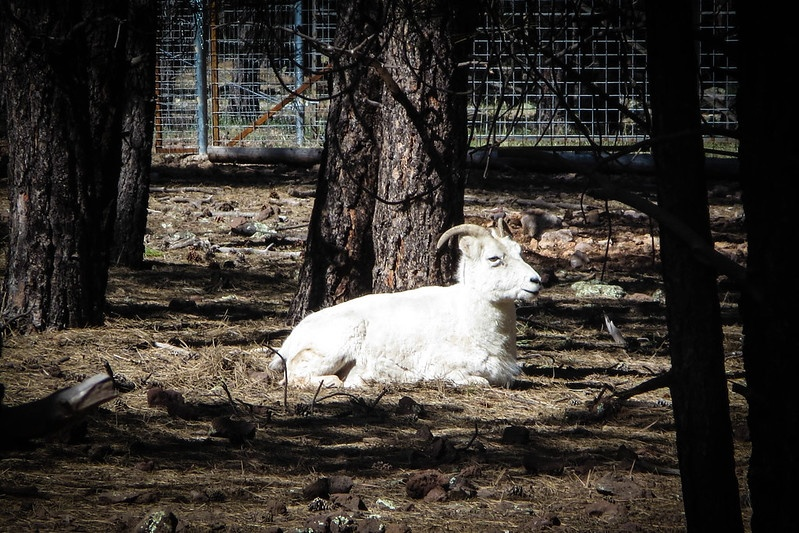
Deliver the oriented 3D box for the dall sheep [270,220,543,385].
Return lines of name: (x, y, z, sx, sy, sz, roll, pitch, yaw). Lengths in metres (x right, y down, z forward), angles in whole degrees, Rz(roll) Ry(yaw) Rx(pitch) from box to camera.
dall sheep: (0.110, 0.436, 11.886, 2.873, 1.689, 1.271, -1, -1, 31)
